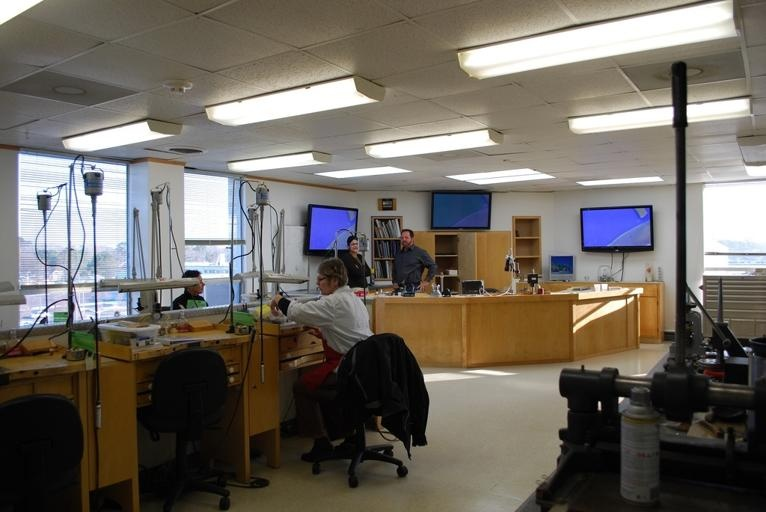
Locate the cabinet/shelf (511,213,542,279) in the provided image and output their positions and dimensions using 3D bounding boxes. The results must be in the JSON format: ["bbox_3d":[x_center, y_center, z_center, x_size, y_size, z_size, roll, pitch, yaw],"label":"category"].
[{"bbox_3d":[2.748,-0.032,10.914,0.543,1.369,0.359,-1,-1,1],"label":"cabinet/shelf"}]

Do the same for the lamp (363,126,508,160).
[{"bbox_3d":[0.628,-1.326,6.729,1.631,0.240,0.659,4,7,27],"label":"lamp"}]

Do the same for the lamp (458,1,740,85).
[{"bbox_3d":[1.484,-1.509,4.027,1.786,0.327,0.445,4,7,23],"label":"lamp"}]

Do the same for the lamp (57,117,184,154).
[{"bbox_3d":[-2.861,-1.317,6.155,1.618,0.236,0.456,5,8,34],"label":"lamp"}]

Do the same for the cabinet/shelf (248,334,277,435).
[{"bbox_3d":[-0.989,1.061,4.705,0.316,0.790,0.154,-4,9,-35],"label":"cabinet/shelf"}]

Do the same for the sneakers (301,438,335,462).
[{"bbox_3d":[-0.507,1.657,4.853,0.335,0.228,0.136,2,-36,1],"label":"sneakers"}]

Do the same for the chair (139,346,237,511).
[{"bbox_3d":[-1.484,1.256,4.290,0.632,1.227,0.514,-1,7,-15],"label":"chair"}]

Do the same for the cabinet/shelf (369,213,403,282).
[{"bbox_3d":[-0.005,-0.144,10.711,0.648,1.213,0.336,-3,9,-30],"label":"cabinet/shelf"}]

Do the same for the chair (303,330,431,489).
[{"bbox_3d":[-0.149,1.226,4.778,0.859,1.151,0.962,5,-15,6],"label":"chair"}]

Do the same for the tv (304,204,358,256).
[{"bbox_3d":[-0.891,-0.443,10.032,0.106,0.852,1.234,5,3,38],"label":"tv"}]

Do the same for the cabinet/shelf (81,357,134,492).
[{"bbox_3d":[-2.006,1.169,4.064,0.381,0.718,0.383,-2,-10,1],"label":"cabinet/shelf"}]

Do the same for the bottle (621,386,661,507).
[{"bbox_3d":[1.148,0.839,2.523,0.173,0.483,0.148,4,7,22],"label":"bottle"}]

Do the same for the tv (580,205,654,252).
[{"bbox_3d":[4.259,-0.503,10.201,0.904,0.612,0.094,0,-1,26],"label":"tv"}]

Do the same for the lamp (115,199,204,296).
[{"bbox_3d":[-1.949,-0.164,4.913,0.777,0.856,0.779,4,6,36],"label":"lamp"}]

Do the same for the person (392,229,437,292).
[{"bbox_3d":[0.484,0.051,8.553,0.624,0.858,1.183,0,7,-4],"label":"person"}]

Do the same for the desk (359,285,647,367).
[{"bbox_3d":[1.865,1.027,8.005,4.259,1.030,0.619,-1,7,-18],"label":"desk"}]

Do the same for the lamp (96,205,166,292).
[{"bbox_3d":[-1.986,-0.060,4.787,0.714,0.677,0.615,4,6,30],"label":"lamp"}]

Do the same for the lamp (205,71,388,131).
[{"bbox_3d":[-0.802,-1.396,5.161,1.704,0.285,0.590,4,7,29],"label":"lamp"}]

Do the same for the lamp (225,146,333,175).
[{"bbox_3d":[-1.384,-1.290,7.699,1.579,0.220,0.835,7,9,44],"label":"lamp"}]

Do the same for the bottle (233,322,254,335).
[{"bbox_3d":[-1.140,0.596,4.673,0.099,0.059,0.098,1,-3,0],"label":"bottle"}]

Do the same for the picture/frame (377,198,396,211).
[{"bbox_3d":[0.087,-0.976,10.669,0.356,0.229,0.189,1,7,-1],"label":"picture/frame"}]
